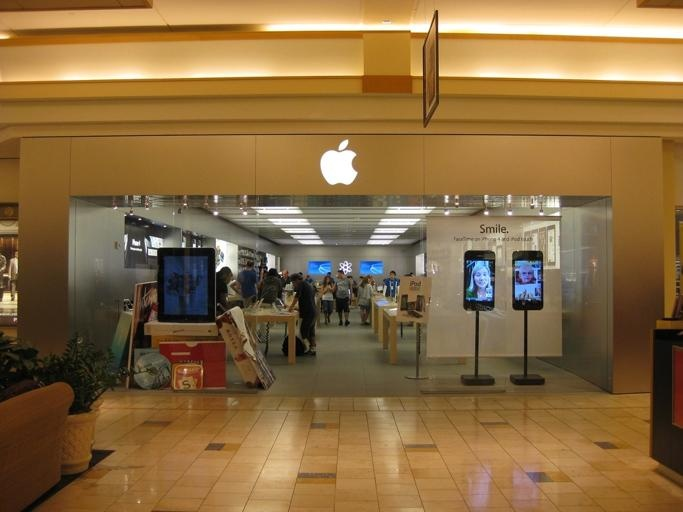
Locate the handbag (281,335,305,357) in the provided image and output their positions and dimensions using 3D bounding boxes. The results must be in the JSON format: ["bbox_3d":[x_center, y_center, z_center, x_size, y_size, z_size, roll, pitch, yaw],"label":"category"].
[{"bbox_3d":[-0.908,1.740,10.114,0.340,0.368,0.426,1,2,9],"label":"handbag"}]

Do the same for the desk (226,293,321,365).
[{"bbox_3d":[-1.271,1.371,10.005,1.358,1.051,1.683,4,-1,-14],"label":"desk"}]

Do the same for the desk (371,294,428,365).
[{"bbox_3d":[1.526,1.441,10.214,1.072,1.183,2.390,0,-2,0],"label":"desk"}]
